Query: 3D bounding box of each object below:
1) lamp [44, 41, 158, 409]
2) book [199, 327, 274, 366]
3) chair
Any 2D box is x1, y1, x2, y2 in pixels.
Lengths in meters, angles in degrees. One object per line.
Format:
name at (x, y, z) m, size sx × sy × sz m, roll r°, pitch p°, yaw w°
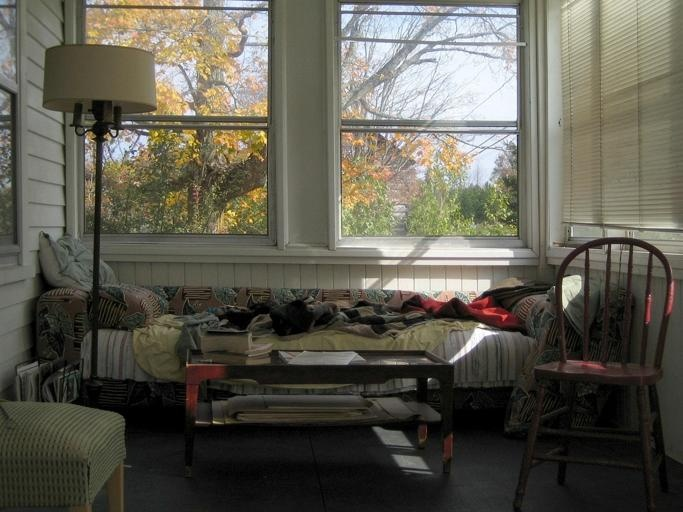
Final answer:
lamp at (-1.445, -0.184, 3.550) m, size 0.603 × 2.067 × 0.851 m, roll -2°, pitch 6°, yaw -27°
book at (-0.517, 0.443, 2.907) m, size 0.222 × 0.105 × 0.204 m, roll 0°, pitch -3°, yaw 19°
chair at (1.328, 0.508, 2.963) m, size 0.644 × 1.217 × 1.226 m, roll 3°, pitch 6°, yaw 27°
